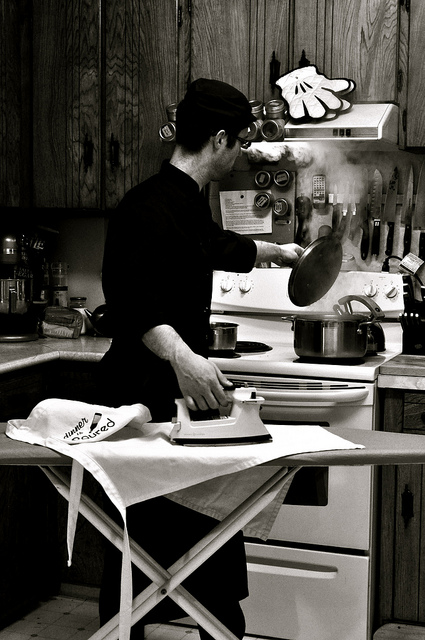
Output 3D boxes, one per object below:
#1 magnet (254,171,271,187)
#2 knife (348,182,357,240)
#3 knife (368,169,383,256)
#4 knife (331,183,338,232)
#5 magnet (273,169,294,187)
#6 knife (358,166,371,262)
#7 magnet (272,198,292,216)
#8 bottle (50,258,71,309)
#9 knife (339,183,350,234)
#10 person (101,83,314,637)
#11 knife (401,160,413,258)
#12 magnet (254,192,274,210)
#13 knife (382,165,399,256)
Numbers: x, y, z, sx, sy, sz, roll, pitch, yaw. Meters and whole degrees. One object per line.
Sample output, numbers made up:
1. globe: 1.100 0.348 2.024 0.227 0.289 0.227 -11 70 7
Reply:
1. magnet: 0.198 -0.575 2.363 0.075 0.064 0.029 6 7 36
2. knife: 0.554 -0.422 2.302 0.025 0.200 0.018 3 5 22
3. knife: 0.633 -0.426 2.263 0.035 0.369 0.024 1 2 18
4. knife: 0.481 -0.452 2.317 0.015 0.190 0.022 3 1 2
5. magnet: 0.283 -0.578 2.346 0.083 0.072 0.047 3 5 13
6. knife: 0.597 -0.421 2.293 0.037 0.387 0.017 2 0 16
7. magnet: 0.279 -0.441 2.371 0.080 0.116 0.049 -3 2 12
8. bottle: -0.704 -0.177 2.700 0.095 0.218 0.276 0 6 -16
9. knife: 0.521 -0.445 2.308 0.026 0.252 0.017 8 1 35
10. person: -0.067 0.091 1.220 0.288 1.120 0.760 1 5 -2
11. knife: 0.744 -0.431 2.234 0.043 0.373 0.043 3 5 21
12. magnet: 0.207 -0.487 2.365 0.078 0.067 0.044 2 5 4
13. knife: 0.683 -0.424 2.249 0.041 0.347 0.015 5 3 14
